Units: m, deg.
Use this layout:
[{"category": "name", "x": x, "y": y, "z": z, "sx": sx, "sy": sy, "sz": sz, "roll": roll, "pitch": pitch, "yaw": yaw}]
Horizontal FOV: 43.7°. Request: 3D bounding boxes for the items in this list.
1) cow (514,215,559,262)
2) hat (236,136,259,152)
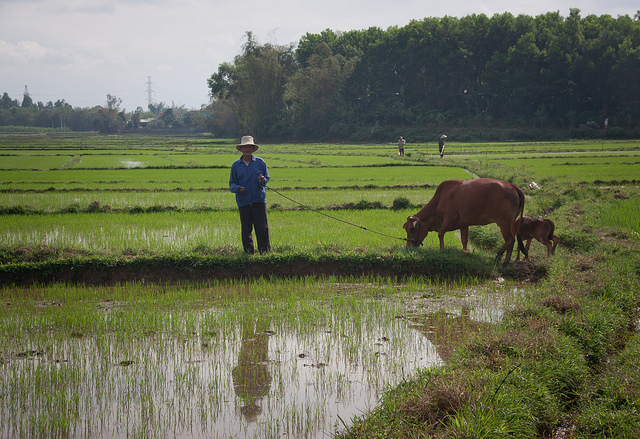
[{"category": "cow", "x": 7.025, "y": 0.429, "z": 26.779, "sx": 0.533, "sy": 1.779, "sz": 1.976, "roll": -13, "pitch": 10, "yaw": -34}, {"category": "hat", "x": -2.372, "y": -2.628, "z": 26.182, "sx": 0.548, "sy": 0.343, "sz": 0.572, "roll": 6, "pitch": -9, "yaw": -27}]
